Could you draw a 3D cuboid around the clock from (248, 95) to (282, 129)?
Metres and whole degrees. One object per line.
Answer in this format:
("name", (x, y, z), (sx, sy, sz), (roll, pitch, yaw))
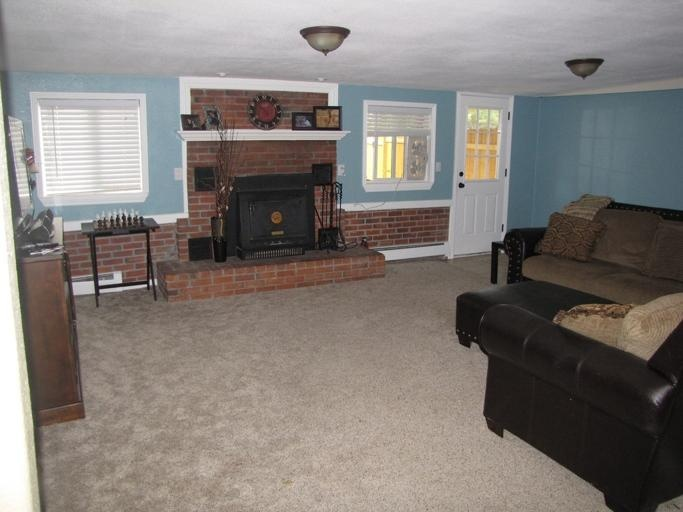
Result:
("clock", (-0.874, -1.612, 5.748), (0.380, 0.391, 0.040), (-6, 12, -29))

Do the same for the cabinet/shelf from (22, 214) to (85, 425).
("cabinet/shelf", (-1.722, 0.405, 3.071), (0.257, 0.727, 1.275), (-7, 21, -21))

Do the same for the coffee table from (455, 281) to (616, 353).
("coffee table", (1.392, 0.359, 3.972), (0.670, 0.313, 0.698), (-1, 10, -19))

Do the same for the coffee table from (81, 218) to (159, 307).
("coffee table", (-2.284, 0.076, 5.235), (0.681, 0.783, 0.420), (-8, 30, -22))

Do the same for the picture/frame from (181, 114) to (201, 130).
("picture/frame", (-1.570, -1.381, 5.333), (0.170, 0.175, 0.062), (-4, 6, -19))

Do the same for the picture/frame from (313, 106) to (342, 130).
("picture/frame", (-0.179, -1.598, 5.958), (0.295, 0.252, 0.024), (-3, 11, -21))

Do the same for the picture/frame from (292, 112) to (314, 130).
("picture/frame", (-0.438, -1.524, 5.855), (0.248, 0.205, 0.172), (-3, 13, -4))
